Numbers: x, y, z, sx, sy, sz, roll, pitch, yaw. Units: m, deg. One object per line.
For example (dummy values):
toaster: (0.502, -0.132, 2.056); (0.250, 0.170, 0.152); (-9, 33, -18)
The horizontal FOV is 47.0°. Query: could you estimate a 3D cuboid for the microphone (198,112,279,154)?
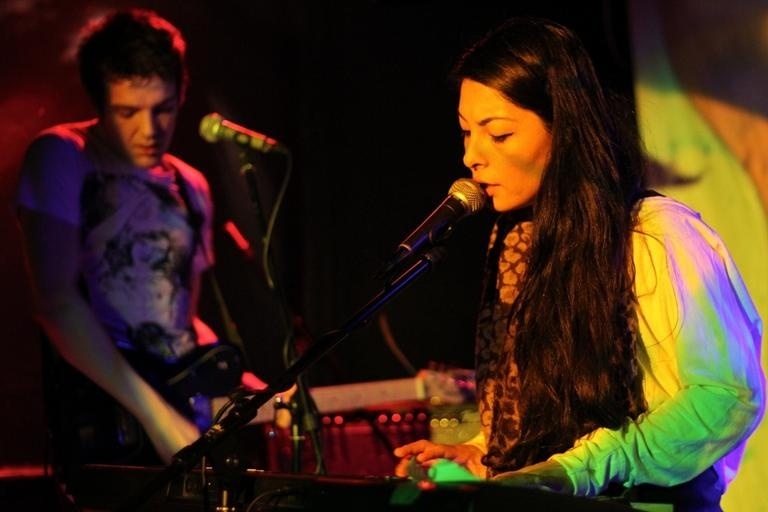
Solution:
microphone: (-0.669, -0.553, 3.952); (0.391, 0.118, 0.128); (24, -40, 11)
